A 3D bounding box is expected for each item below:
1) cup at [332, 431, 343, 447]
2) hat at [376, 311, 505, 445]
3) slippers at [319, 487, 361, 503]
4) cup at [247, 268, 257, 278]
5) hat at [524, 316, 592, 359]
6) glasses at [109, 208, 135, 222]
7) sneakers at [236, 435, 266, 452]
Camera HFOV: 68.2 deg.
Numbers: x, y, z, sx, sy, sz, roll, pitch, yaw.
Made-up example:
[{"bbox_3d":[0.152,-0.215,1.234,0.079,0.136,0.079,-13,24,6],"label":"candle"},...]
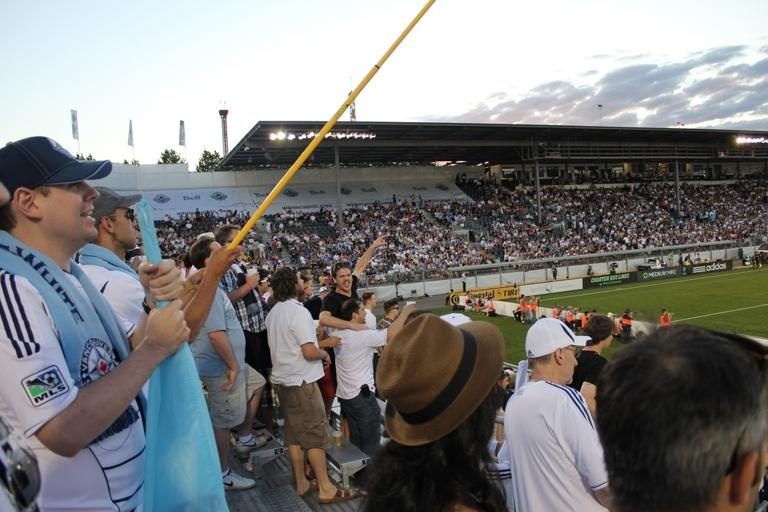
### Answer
[{"bbox_3d":[-0.523,2.036,6.259,0.127,0.132,0.130,-2,8,0],"label":"cup"},{"bbox_3d":[0.284,0.571,2.730,0.640,0.611,0.373,-2,5,-4],"label":"hat"},{"bbox_3d":[-0.433,2.271,5.418,0.368,0.105,0.190,-3,4,-7],"label":"slippers"},{"bbox_3d":[-1.449,0.183,6.207,0.072,0.084,0.084,0,-13,5],"label":"cup"},{"bbox_3d":[1.276,0.613,4.151,0.423,0.228,0.274,-14,9,-12],"label":"hat"},{"bbox_3d":[-1.895,-0.296,4.075,0.127,0.041,0.127,-4,0,18],"label":"glasses"},{"bbox_3d":[-1.427,1.993,6.115,0.343,0.151,0.135,-7,10,-31],"label":"sneakers"}]
